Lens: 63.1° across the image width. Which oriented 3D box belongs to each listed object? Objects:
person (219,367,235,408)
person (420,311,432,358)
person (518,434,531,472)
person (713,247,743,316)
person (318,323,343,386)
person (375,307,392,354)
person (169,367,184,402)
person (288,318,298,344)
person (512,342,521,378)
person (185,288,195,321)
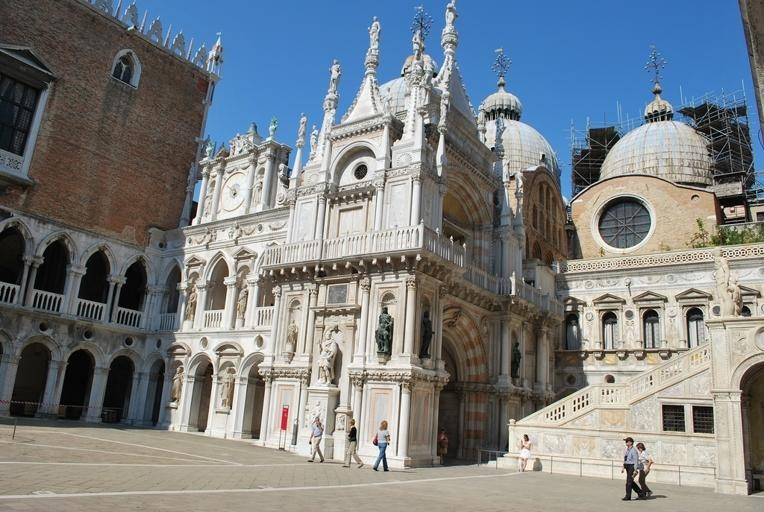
[{"bbox_3d":[-8.752,7.527,35.390,1.070,2.278,0.431,-11,-21,36],"label":"person"},{"bbox_3d":[2.103,3.612,29.080,0.644,2.209,0.397,18,-23,-42],"label":"person"},{"bbox_3d":[6.662,9.127,29.032,0.550,1.646,1.360,-2,-17,12],"label":"person"},{"bbox_3d":[14.782,1.264,26.644,0.814,2.803,0.970,-7,-19,26],"label":"person"},{"bbox_3d":[-2.549,4.676,29.797,0.921,2.870,0.741,-3,-18,17],"label":"person"},{"bbox_3d":[0.087,3.355,28.486,0.767,2.271,0.553,-1,-17,9],"label":"person"},{"bbox_3d":[-12.276,7.644,37.337,1.009,2.108,0.272,-10,-21,35],"label":"person"},{"bbox_3d":[-4.483,3.824,31.447,0.422,1.317,0.300,-10,-21,33],"label":"person"},{"bbox_3d":[7.541,5.785,34.979,0.337,2.088,0.818,-10,-21,34],"label":"person"},{"bbox_3d":[-11.919,2.964,38.827,0.880,1.958,0.270,-12,-22,39],"label":"person"}]
